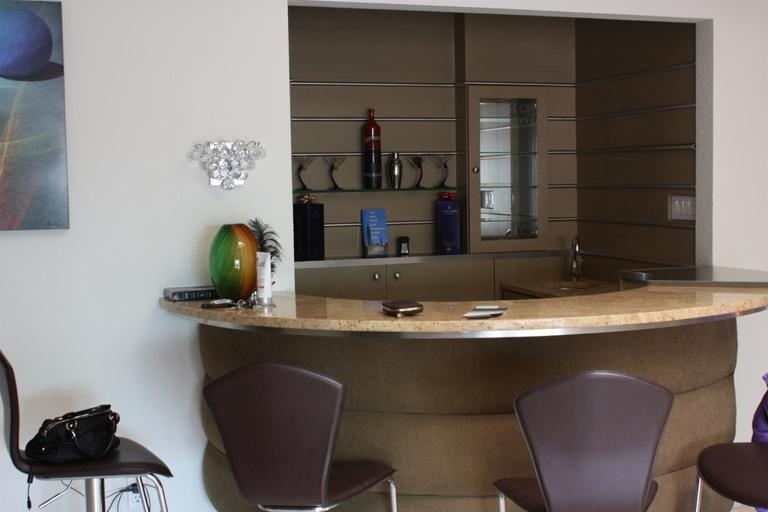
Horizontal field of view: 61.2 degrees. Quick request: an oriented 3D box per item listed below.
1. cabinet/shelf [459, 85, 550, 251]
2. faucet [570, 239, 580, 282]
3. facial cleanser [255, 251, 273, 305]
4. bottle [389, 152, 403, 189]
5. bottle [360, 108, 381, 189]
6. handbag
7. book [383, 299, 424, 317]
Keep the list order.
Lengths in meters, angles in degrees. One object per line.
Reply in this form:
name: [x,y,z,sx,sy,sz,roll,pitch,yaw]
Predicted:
cabinet/shelf: [0.948,-0.666,4.978,0.702,1.254,0.170,-5,11,-15]
faucet: [1.413,0.022,4.794,0.065,0.311,0.204,2,11,18]
facial cleanser: [-0.560,0.105,3.015,0.063,0.232,0.105,-2,11,-3]
bottle: [0.079,-0.638,4.880,0.101,0.273,0.133,0,11,10]
bottle: [-0.088,-0.797,4.851,0.162,0.591,0.169,-2,11,0]
handbag: [-1.220,0.725,2.581,0.207,0.120,0.282,0,0,12]
book: [0.089,0.218,2.779,0.180,0.044,0.167,-5,11,-20]
